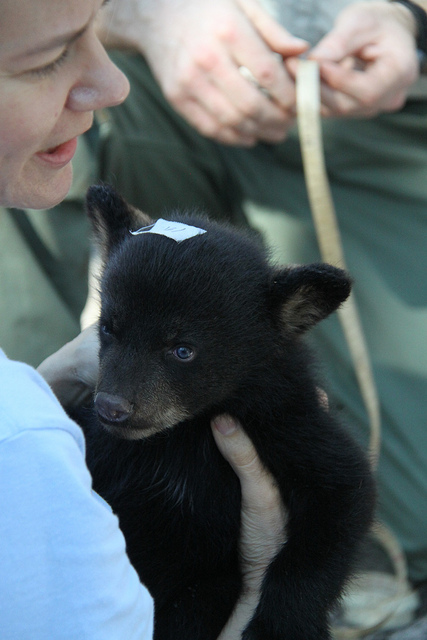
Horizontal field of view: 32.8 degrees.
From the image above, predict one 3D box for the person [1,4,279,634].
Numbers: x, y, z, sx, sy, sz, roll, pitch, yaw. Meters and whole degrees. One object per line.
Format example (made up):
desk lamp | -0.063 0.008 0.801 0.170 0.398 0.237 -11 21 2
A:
person | -0.198 -0.079 2.689 0.866 1.344 2.809 1 93 1
